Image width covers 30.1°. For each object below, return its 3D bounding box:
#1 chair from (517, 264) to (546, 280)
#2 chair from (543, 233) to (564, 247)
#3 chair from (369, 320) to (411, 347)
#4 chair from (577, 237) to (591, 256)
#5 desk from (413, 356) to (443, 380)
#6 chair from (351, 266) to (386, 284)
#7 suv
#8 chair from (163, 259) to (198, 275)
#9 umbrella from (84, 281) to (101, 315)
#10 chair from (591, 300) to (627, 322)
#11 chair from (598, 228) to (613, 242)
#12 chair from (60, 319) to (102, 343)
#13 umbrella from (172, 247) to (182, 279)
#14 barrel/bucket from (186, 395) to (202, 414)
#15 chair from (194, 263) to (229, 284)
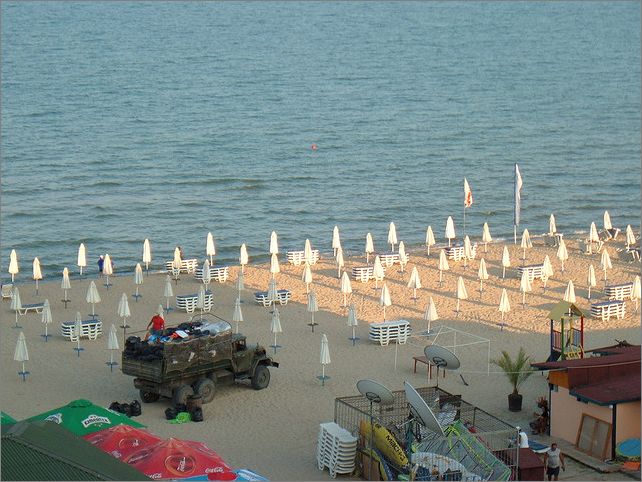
[{"bbox_3d":[11.532,1.779,65.777,1.402,0.565,0.664,-7,16,-20],"label":"chair"},{"bbox_3d":[14.146,-0.076,72.974,0.996,0.507,0.726,-3,11,-11],"label":"chair"},{"bbox_3d":[3.320,4.483,57.918,1.924,1.025,0.796,-4,7,1],"label":"chair"},{"bbox_3d":[15.746,0.319,71.152,0.848,0.675,0.996,-12,20,-28],"label":"chair"},{"bbox_3d":[4.858,5.769,55.287,1.049,0.597,1.261,-9,21,-28],"label":"desk"},{"bbox_3d":[2.600,1.822,66.178,1.644,0.652,0.821,-6,15,-24],"label":"chair"},{"bbox_3d":[-5.396,5.448,52.451,5.774,3.387,1.448,-7,7,-23],"label":"suv"},{"bbox_3d":[-7.744,1.426,67.101,1.468,0.553,0.925,-2,-19,-7],"label":"chair"},{"bbox_3d":[-11.663,2.996,61.515,0.892,1.980,0.872,-6,28,-15],"label":"umbrella"},{"bbox_3d":[14.453,3.514,60.773,2.396,0.967,0.919,-5,7,-26],"label":"chair"},{"bbox_3d":[17.554,-0.363,73.791,1.423,0.749,0.643,-9,8,-38],"label":"chair"},{"bbox_3d":[-11.475,4.316,57.677,2.233,0.921,0.930,0,34,-11],"label":"chair"},{"bbox_3d":[-7.916,1.216,66.024,0.491,1.702,1.208,-7,7,-7],"label":"umbrella"},{"bbox_3d":[-5.458,7.057,51.546,0.723,0.637,0.658,0,0,0],"label":"barrel/bucket"},{"bbox_3d":[-5.919,1.765,65.659,1.249,0.521,1.140,-3,13,-14],"label":"chair"}]
